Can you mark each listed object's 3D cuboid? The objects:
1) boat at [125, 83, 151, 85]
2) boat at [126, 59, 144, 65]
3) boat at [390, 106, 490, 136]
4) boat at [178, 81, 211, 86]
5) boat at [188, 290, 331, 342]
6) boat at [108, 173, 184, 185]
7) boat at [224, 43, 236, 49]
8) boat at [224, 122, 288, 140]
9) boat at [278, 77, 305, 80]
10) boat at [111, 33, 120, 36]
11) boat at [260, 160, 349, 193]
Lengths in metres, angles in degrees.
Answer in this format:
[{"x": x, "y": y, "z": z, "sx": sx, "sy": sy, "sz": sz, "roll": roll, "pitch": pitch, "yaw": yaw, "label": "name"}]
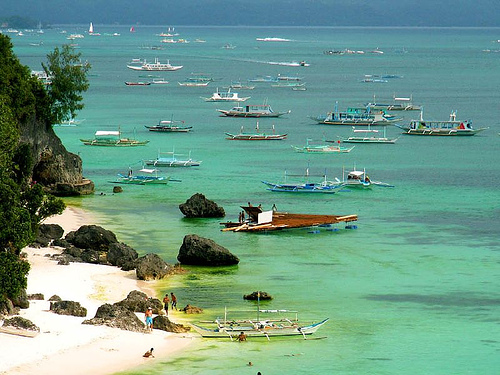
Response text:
[{"x": -25.200, "y": -23.386, "z": 256.882, "sx": 5.881, "sy": 0.545, "sz": 1.275, "roll": -1, "pitch": 4, "yaw": -22, "label": "boat"}, {"x": -32.684, "y": -35.887, "z": 326.701, "sx": 3.648, "sy": 1.544, "sz": 4.689, "roll": 1, "pitch": 7, "yaw": 3, "label": "boat"}, {"x": 29.985, "y": -10.278, "z": 181.064, "sx": 14.576, "sy": 3.984, "sz": 4.066, "roll": 1, "pitch": -3, "yaw": 19, "label": "boat"}, {"x": -14.754, "y": -24.308, "z": 263.370, "sx": 11.453, "sy": 1.392, "sz": 1.678, "roll": 0, "pitch": 5, "yaw": -2, "label": "boat"}, {"x": 0.761, "y": 10.943, "z": 98.609, "sx": 12.159, "sy": 2.666, "sz": 6.738, "roll": 0, "pitch": 10, "yaw": -3, "label": "boat"}, {"x": -12.671, "y": -1.079, "z": 139.077, "sx": 7.700, "sy": 0.835, "sz": 3.906, "roll": 2, "pitch": 10, "yaw": 7, "label": "boat"}, {"x": -8.374, "y": -56.647, "z": 454.295, "sx": 4.389, "sy": 2.767, "sz": 7.640, "roll": 0, "pitch": 3, "yaw": 7, "label": "boat"}, {"x": 0.773, "y": -8.909, "z": 180.226, "sx": 7.278, "sy": 2.716, "sz": 4.999, "roll": -12, "pitch": 12, "yaw": -38, "label": "boat"}, {"x": 9.299, "y": -26.207, "z": 273.843, "sx": 5.372, "sy": 0.474, "sz": 8.831, "roll": 3, "pitch": 10, "yaw": 11, "label": "boat"}, {"x": -76.411, "y": -87.347, "z": 650.858, "sx": 5.854, "sy": 1.116, "sz": 4.952, "roll": 0, "pitch": 4, "yaw": -2, "label": "boat"}, {"x": 6.259, "y": -0.867, "z": 136.631, "sx": 10.399, "sy": 3.076, "sz": 2.738, "roll": 3, "pitch": -7, "yaw": 22, "label": "boat"}]
